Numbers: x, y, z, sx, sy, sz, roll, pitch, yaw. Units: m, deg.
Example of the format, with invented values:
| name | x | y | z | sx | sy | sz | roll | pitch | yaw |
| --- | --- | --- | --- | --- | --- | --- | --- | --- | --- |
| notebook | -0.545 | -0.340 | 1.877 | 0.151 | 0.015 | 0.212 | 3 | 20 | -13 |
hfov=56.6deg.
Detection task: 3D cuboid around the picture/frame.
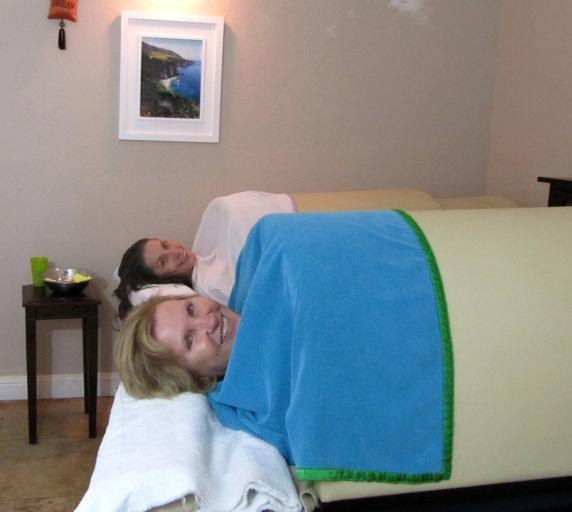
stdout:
| name | x | y | z | sx | sy | sz | roll | pitch | yaw |
| --- | --- | --- | --- | --- | --- | --- | --- | --- | --- |
| picture/frame | -0.490 | -0.752 | 2.185 | 0.439 | 0.653 | 0.038 | 0 | 11 | -15 |
